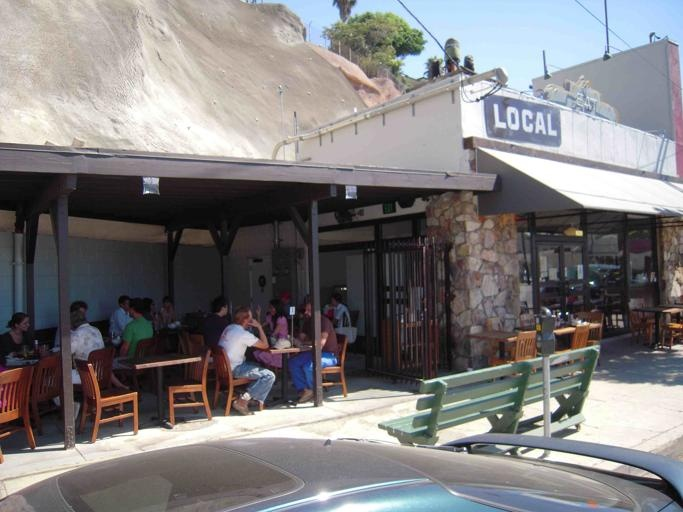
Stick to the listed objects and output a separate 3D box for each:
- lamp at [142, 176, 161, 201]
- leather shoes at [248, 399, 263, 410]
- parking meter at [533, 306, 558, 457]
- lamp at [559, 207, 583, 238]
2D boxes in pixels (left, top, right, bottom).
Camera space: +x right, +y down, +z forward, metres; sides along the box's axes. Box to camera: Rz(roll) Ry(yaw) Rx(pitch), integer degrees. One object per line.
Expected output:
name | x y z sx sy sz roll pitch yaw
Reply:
lamp | -3.142 -1.123 11.385 0.300 0.314 2.478 2 4 -16
leather shoes | -1.417 2.475 11.459 0.163 0.250 0.184 2 -6 -26
parking meter | 2.686 1.721 9.307 0.278 1.975 0.343 -8 -2 16
lamp | 5.609 -0.763 16.627 0.219 0.629 1.043 6 4 36
